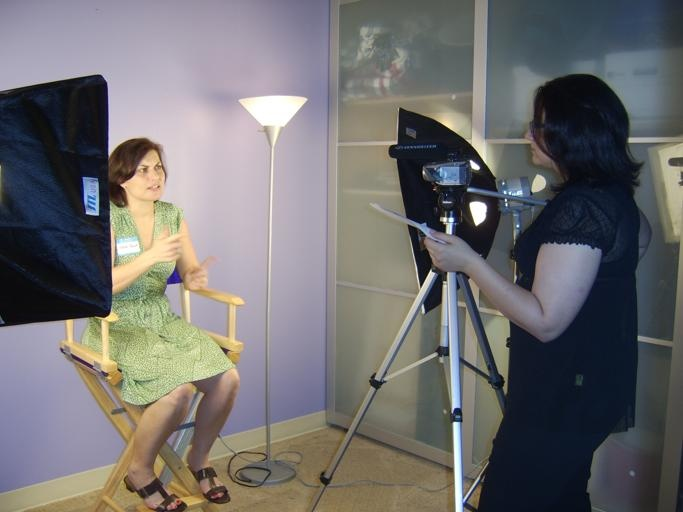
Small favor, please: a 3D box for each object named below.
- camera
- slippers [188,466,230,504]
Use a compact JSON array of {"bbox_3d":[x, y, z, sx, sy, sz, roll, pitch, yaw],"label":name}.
[{"bbox_3d":[0.321,-0.316,1.913,0.256,0.150,0.157,2,12,10],"label":"camera"},{"bbox_3d":[-0.554,0.970,2.349,0.085,0.071,0.247,-8,24,-32],"label":"slippers"}]
